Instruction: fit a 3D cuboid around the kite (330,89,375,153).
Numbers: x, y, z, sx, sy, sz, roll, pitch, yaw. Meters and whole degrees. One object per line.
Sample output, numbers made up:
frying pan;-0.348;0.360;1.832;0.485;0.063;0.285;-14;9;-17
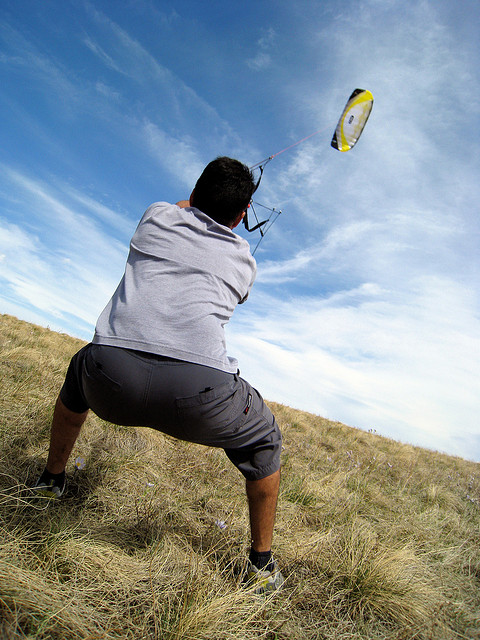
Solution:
kite;1.666;-3.019;6.581;0.234;0.862;0.543;27;-7;-32
